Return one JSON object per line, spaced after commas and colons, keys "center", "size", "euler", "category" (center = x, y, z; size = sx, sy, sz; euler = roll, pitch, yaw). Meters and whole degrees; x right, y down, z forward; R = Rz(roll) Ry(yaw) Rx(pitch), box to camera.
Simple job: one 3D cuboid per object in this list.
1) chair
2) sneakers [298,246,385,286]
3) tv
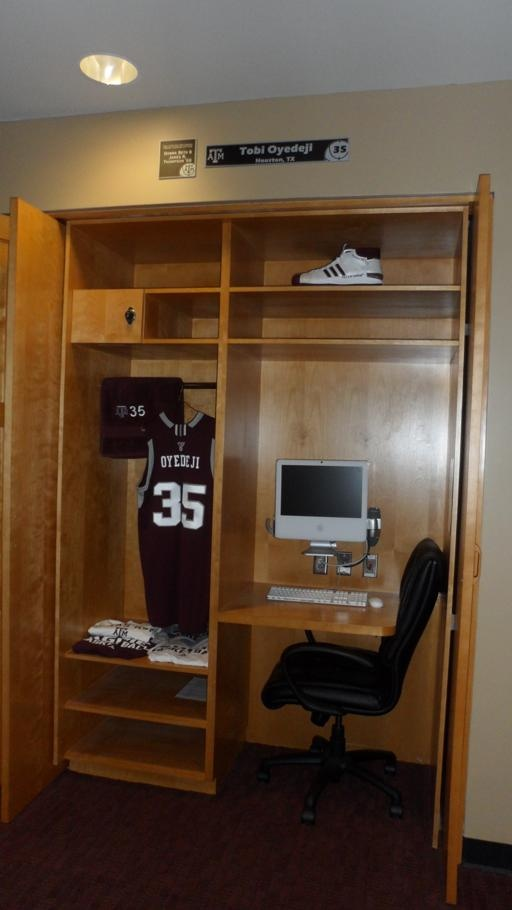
{"center": [0.351, 0.800, 2.715], "size": [0.794, 1.339, 0.808], "euler": [1, -2, 7], "category": "chair"}
{"center": [0.322, -0.656, 2.307], "size": [0.344, 0.182, 0.134], "euler": [4, 12, 13], "category": "sneakers"}
{"center": [0.277, 0.204, 2.682], "size": [0.327, 0.383, 0.116], "euler": [1, 3, 9], "category": "tv"}
